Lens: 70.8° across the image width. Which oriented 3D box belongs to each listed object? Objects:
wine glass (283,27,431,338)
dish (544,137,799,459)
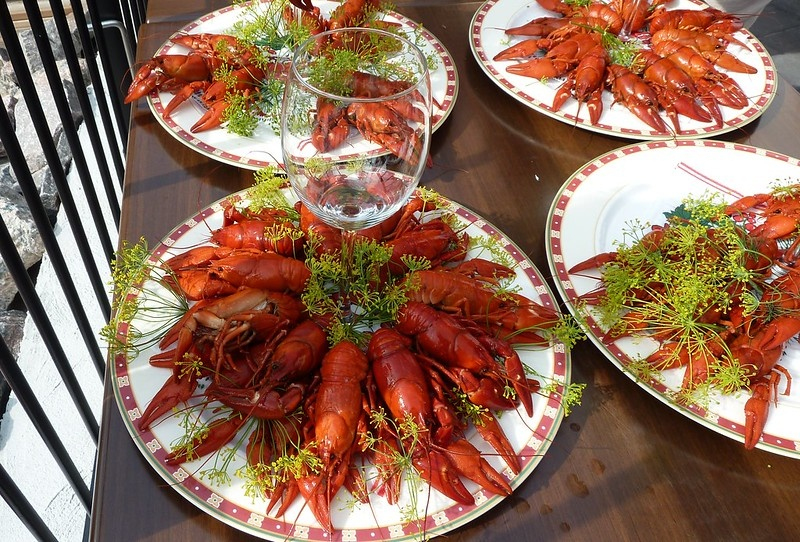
[{"bbox_3d":[-0.068,-0.252,0.881,0.230,0.328,0.209,-4,-22,3],"label":"wine glass"},{"bbox_3d":[0.466,-0.088,1.099,0.571,0.593,0.081,19,-40,4],"label":"dish"}]
